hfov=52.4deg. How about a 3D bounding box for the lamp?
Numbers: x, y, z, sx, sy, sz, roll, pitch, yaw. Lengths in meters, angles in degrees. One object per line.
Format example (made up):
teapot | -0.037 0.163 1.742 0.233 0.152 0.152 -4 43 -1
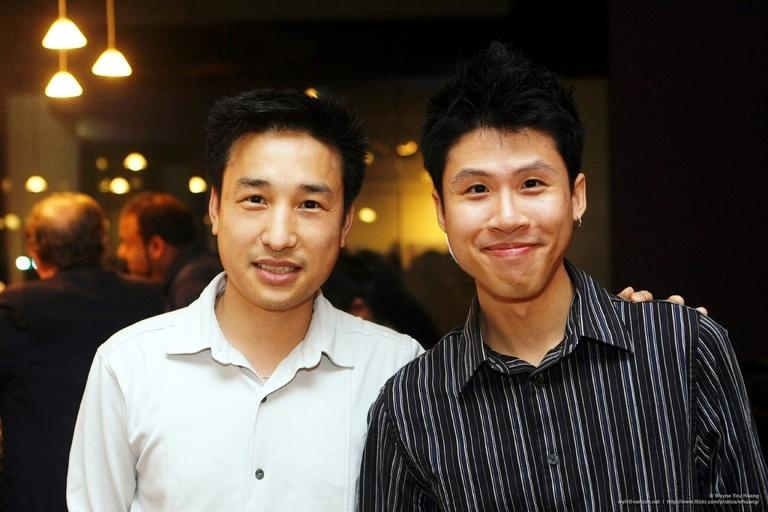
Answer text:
lamp | -1.891 -1.337 4.956 0.545 0.438 0.322 0 -1 -19
